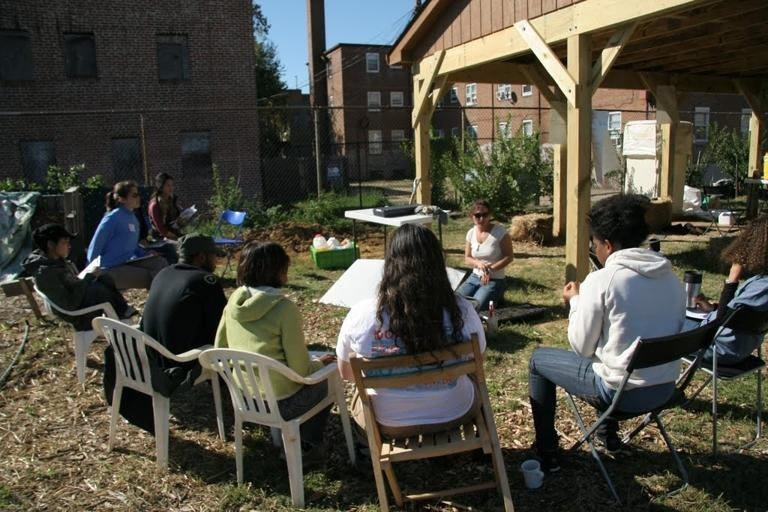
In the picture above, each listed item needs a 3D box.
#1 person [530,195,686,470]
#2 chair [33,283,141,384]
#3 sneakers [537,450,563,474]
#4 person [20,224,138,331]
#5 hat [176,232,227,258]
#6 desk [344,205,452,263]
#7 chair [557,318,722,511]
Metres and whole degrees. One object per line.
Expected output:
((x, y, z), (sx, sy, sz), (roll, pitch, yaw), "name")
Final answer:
((1.967, 0.716, 5.861), (1.257, 2.436, 0.648), (2, 10, 26), "person")
((-3.341, 0.913, 7.668), (0.801, 1.106, 0.685), (-8, -5, -32), "chair")
((1.510, 1.870, 5.993), (0.116, 0.213, 0.307), (-1, -20, 3), "sneakers")
((-3.530, 0.293, 7.672), (1.005, 1.473, 0.636), (-16, 22, -20), "person")
((-1.825, -0.109, 6.725), (0.307, 0.178, 0.436), (2, 2, 27), "hat")
((0.300, -0.227, 10.715), (1.261, 1.288, 1.253), (-12, 19, -38), "desk")
((2.275, 1.440, 5.903), (0.939, 1.952, 1.345), (-6, 22, -15), "chair")
